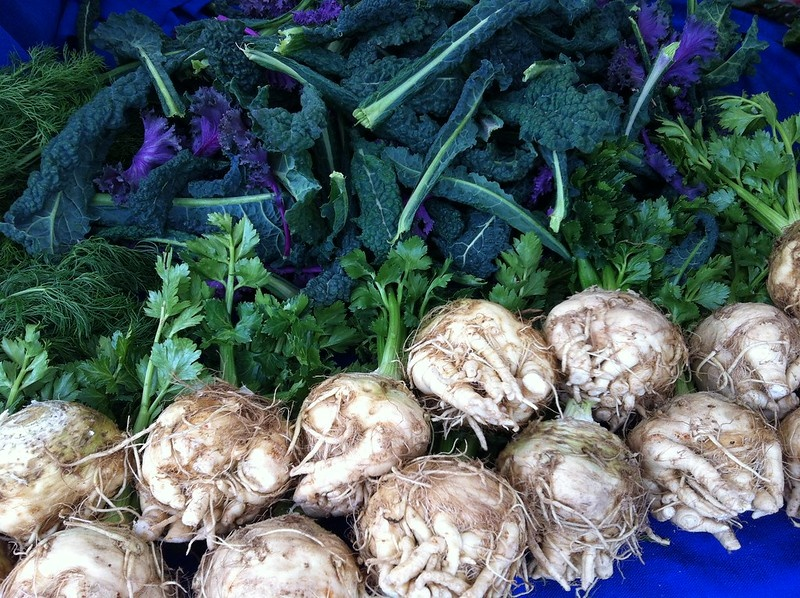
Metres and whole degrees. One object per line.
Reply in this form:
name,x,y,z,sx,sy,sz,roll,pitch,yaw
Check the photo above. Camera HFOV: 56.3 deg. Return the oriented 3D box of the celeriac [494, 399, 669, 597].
celeriac,0.654,0.873,3.027,0.629,0.529,0.730,24,48,-9
